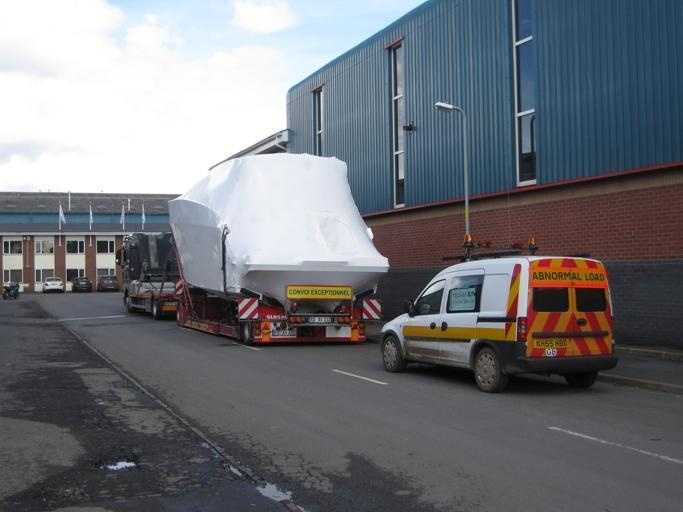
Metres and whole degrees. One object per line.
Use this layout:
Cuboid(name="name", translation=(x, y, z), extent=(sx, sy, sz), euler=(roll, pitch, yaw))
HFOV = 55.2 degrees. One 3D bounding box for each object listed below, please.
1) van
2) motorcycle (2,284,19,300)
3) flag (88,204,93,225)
Cuboid(name="van", translation=(2.742, 1.072, 12.524), extent=(2.038, 1.866, 3.716), euler=(2, 1, -26))
Cuboid(name="motorcycle", translation=(-28.222, 3.095, 56.141), extent=(1.117, 1.158, 1.507), euler=(-1, 0, -34))
Cuboid(name="flag", translation=(-32.919, -5.259, 86.322), extent=(0.674, 0.777, 3.447), euler=(3, -15, -21))
